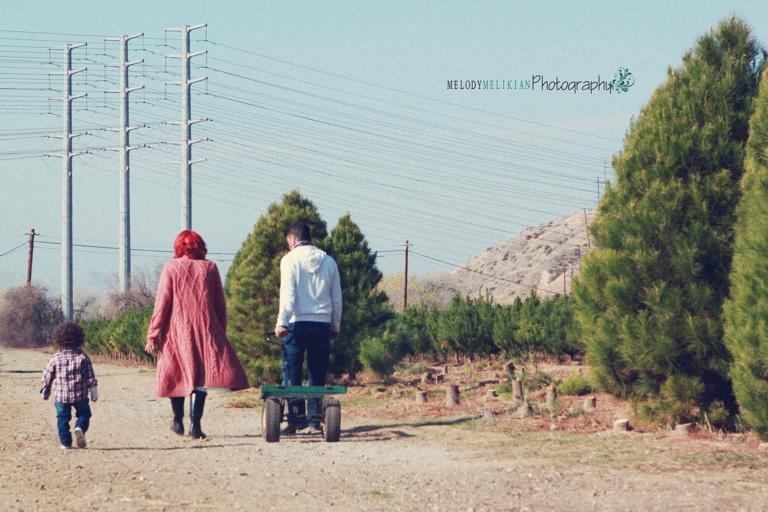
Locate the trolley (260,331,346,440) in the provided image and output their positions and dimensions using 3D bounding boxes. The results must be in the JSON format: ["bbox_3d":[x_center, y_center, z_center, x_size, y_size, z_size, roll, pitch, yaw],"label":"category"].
[{"bbox_3d":[-1.753,2.506,34.661,1.454,2.769,2.627,0,-8,-10],"label":"trolley"}]
